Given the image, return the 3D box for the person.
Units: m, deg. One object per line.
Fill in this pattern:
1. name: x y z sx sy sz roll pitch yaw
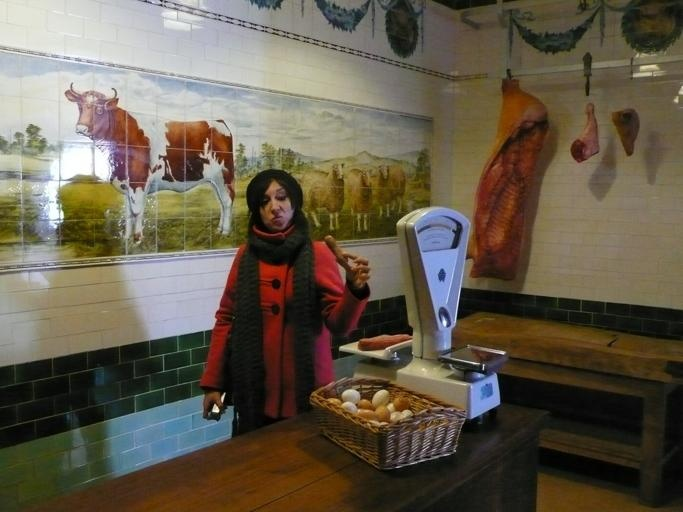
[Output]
1. person: -0.226 0.441 2.518 0.880 1.635 0.496 0 5 15

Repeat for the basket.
1. basket: 0.183 0.551 1.823 0.445 0.254 0.414 12 12 42
